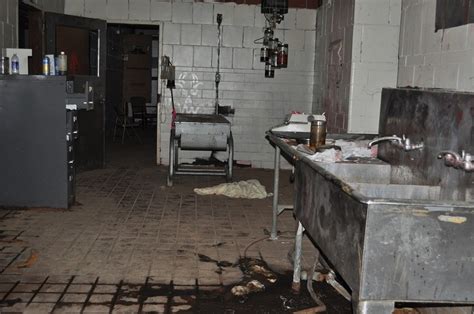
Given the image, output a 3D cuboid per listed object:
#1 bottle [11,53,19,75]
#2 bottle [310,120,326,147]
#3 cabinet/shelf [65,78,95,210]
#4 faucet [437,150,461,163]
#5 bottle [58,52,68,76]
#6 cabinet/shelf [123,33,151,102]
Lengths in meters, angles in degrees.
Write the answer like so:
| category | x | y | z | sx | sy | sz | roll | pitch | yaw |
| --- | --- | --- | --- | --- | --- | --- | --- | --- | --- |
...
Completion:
| category | x | y | z | sx | sy | sz | roll | pitch | yaw |
| --- | --- | --- | --- | --- | --- | --- | --- | --- | --- |
| bottle | -2.892 | -1.233 | 5.183 | 0.112 | 0.253 | 0.497 | -8 | 15 | -27 |
| bottle | 0.727 | -0.221 | 3.577 | 0.138 | 0.231 | 0.156 | 2 | 14 | 9 |
| cabinet/shelf | -2.129 | -0.273 | 5.433 | 0.421 | 1.533 | 1.297 | -5 | 14 | -19 |
| faucet | 1.372 | -0.018 | 2.579 | 0.129 | 0.073 | 0.084 | 6 | 7 | 44 |
| bottle | -2.378 | -1.281 | 5.396 | 0.101 | 0.277 | 0.150 | -1 | 14 | -2 |
| cabinet/shelf | -2.885 | -2.569 | 11.473 | 0.882 | 1.847 | 0.490 | -4 | 14 | -15 |
